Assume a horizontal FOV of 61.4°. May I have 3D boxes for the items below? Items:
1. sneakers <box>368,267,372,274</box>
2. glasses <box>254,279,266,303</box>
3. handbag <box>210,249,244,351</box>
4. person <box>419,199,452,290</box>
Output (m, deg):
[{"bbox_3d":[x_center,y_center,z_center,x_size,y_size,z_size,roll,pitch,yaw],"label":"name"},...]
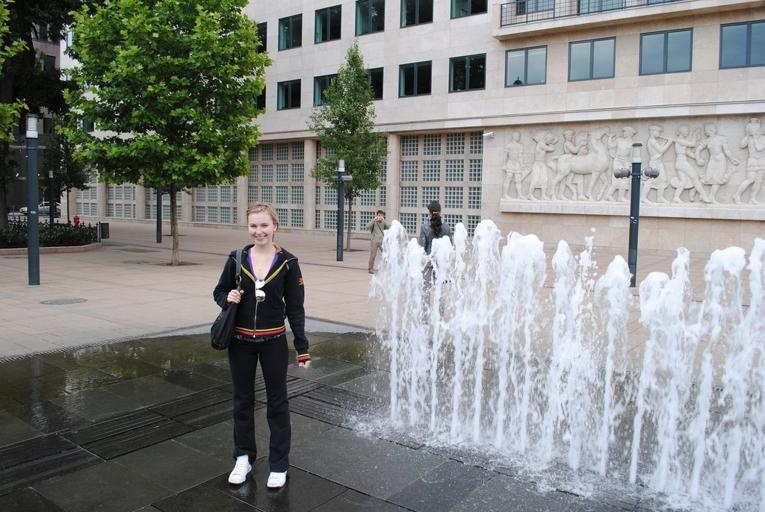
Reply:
[{"bbox_3d":[-0.389,0.459,19.621,0.090,0.150,0.148,1,0,-4],"label":"sneakers"},{"bbox_3d":[-1.407,0.405,7.354,0.112,0.252,0.093,-1,6,-14],"label":"glasses"},{"bbox_3d":[-1.797,0.517,7.407,0.359,1.156,0.310,-1,6,-13],"label":"handbag"},{"bbox_3d":[0.937,-0.217,12.125,0.553,1.591,0.856,2,6,14],"label":"person"}]
